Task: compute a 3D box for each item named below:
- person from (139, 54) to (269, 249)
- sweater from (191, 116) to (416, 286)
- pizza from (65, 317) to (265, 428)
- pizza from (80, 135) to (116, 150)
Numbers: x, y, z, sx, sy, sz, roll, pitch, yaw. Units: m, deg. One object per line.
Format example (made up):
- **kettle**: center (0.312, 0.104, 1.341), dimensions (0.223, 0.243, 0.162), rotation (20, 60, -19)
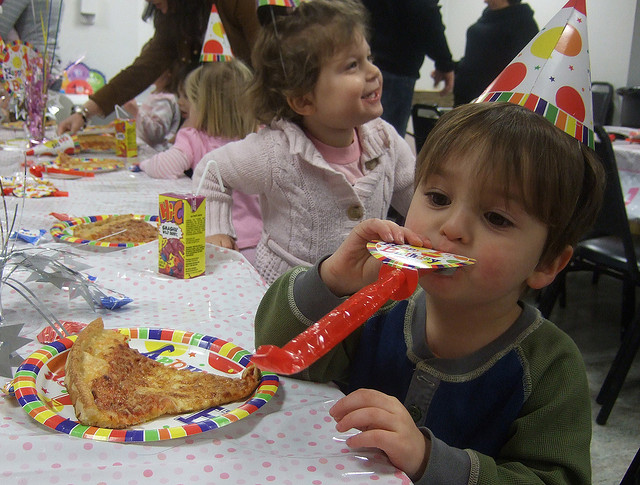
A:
- **person**: center (-0.463, -0.258, 2.371), dimensions (0.433, 1.099, 0.346), rotation (-7, 32, -24)
- **sweater**: center (-0.105, -0.177, 1.729), dimensions (0.587, 0.543, 0.517), rotation (-9, 20, -34)
- **pizza**: center (-0.246, 0.196, 0.789), dimensions (0.170, 0.044, 0.163), rotation (2, 24, -26)
- **pizza**: center (-1.130, -0.512, 2.793), dimensions (0.133, 0.038, 0.105), rotation (2, 15, 4)
